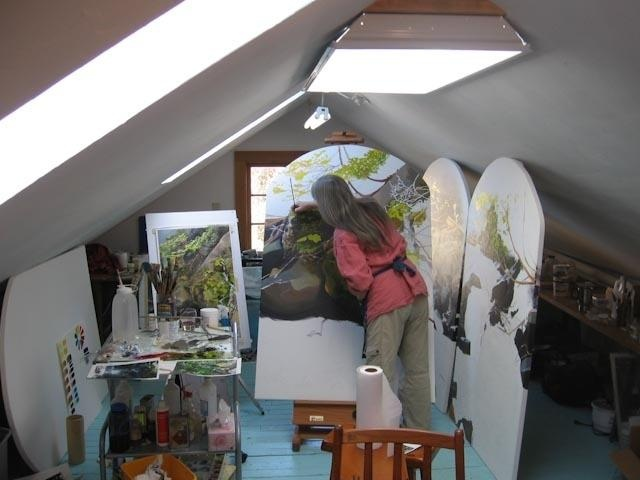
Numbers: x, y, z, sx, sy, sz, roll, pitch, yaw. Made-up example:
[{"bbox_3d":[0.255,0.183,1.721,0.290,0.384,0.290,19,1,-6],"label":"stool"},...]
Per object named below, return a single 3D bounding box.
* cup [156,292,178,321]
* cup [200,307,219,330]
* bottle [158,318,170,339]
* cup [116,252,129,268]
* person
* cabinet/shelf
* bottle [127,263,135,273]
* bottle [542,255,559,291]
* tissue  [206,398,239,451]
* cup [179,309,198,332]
[{"bbox_3d":[-0.908,0.400,2.833,0.108,0.153,0.112,-3,-9,0],"label":"cup"},{"bbox_3d":[-0.709,0.521,3.111,0.121,0.149,0.123,0,9,0],"label":"cup"},{"bbox_3d":[-0.905,0.517,2.768,0.077,0.095,0.091,0,3,-3],"label":"bottle"},{"bbox_3d":[-2.187,0.229,5.341,0.151,0.162,0.126,-2,14,-8],"label":"cup"},{"bbox_3d":[0.388,0.389,3.234,0.725,1.767,0.382,0,-9,-20],"label":"person"},{"bbox_3d":[-0.869,0.918,2.714,0.538,0.780,0.730,2,35,-4],"label":"cabinet/shelf"},{"bbox_3d":[-2.071,0.312,5.231,0.096,0.107,0.072,0,-4,-19],"label":"bottle"},{"bbox_3d":[1.786,0.249,3.724,0.058,0.277,0.315,-4,-9,11],"label":"bottle"},{"bbox_3d":[-0.532,1.006,2.569,0.145,0.257,0.143,0,-9,-15],"label":"tissue "},{"bbox_3d":[-0.797,0.502,2.936,0.109,0.138,0.117,0,-2,0],"label":"cup"}]
